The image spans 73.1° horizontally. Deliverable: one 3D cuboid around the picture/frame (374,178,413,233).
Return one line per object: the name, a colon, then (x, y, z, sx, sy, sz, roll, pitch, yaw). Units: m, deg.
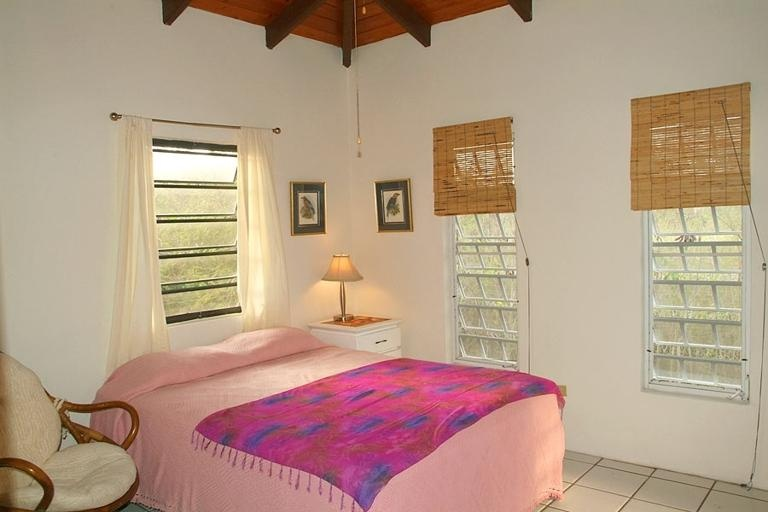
picture/frame: (0.120, -0.567, 5.665, 0.566, 0.702, 0.047, 3, 10, 37)

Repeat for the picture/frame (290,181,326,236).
picture/frame: (-0.851, -0.531, 5.630, 0.054, 0.750, 0.565, -1, 1, 44)

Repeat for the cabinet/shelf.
cabinet/shelf: (-0.274, 0.810, 5.588, 0.568, 0.593, 0.549, 1, 3, 37)

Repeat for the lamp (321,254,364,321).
lamp: (-0.471, 0.339, 5.739, 0.425, 0.730, 0.564, -1, 1, -5)
